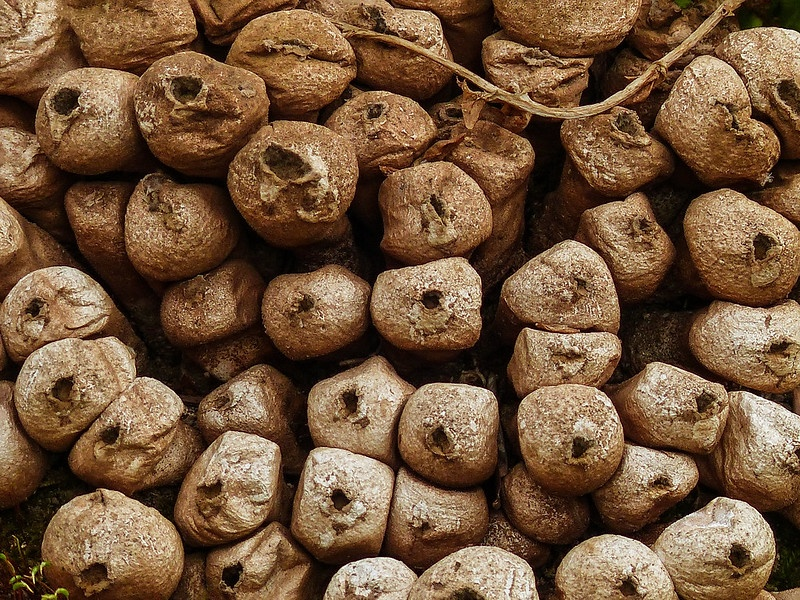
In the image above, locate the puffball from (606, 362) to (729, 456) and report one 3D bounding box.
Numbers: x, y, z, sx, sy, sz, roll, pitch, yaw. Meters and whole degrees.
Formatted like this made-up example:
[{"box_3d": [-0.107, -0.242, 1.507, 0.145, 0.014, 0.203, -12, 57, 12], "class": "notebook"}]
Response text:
[{"box_3d": [0.997, 0.412, 3.711, 0.310, 0.172, 0.428, -32, 39, -8], "class": "puffball"}]
